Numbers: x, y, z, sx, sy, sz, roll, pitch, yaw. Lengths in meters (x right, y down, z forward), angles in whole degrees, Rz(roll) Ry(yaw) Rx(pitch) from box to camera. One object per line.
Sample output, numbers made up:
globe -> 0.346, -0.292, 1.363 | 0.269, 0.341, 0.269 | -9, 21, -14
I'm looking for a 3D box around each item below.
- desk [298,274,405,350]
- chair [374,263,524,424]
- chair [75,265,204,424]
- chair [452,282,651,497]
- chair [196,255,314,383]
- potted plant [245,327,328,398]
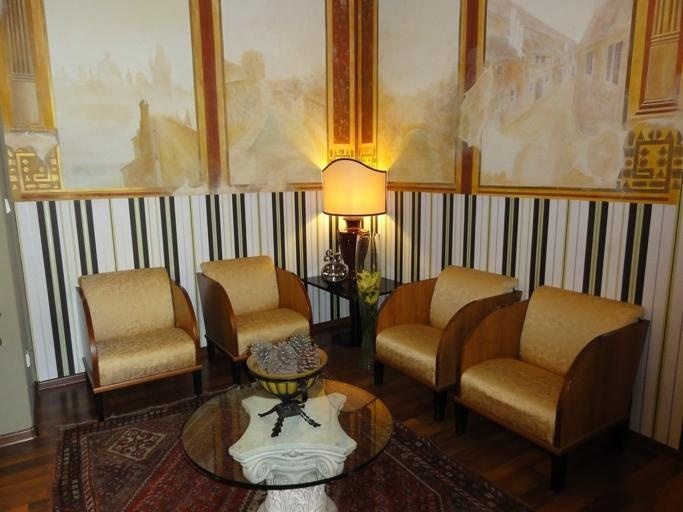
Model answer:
desk -> 0.123, 0.447, 5.231 | 0.863, 0.639, 0.683 | -4, 8, -34
chair -> 0.837, 0.628, 4.202 | 1.082, 0.956, 1.126 | -1, 9, -1
chair -> -1.647, 0.640, 4.219 | 0.818, 0.942, 0.725 | -9, 14, -37
chair -> 1.409, 0.800, 3.620 | 1.114, 0.943, 1.208 | 6, 14, 32
chair -> -0.669, 0.565, 4.863 | 0.968, 1.176, 1.037 | -8, 14, -34
potted plant -> -0.325, 0.595, 3.007 | 0.380, 0.307, 0.380 | 0, 8, 5
